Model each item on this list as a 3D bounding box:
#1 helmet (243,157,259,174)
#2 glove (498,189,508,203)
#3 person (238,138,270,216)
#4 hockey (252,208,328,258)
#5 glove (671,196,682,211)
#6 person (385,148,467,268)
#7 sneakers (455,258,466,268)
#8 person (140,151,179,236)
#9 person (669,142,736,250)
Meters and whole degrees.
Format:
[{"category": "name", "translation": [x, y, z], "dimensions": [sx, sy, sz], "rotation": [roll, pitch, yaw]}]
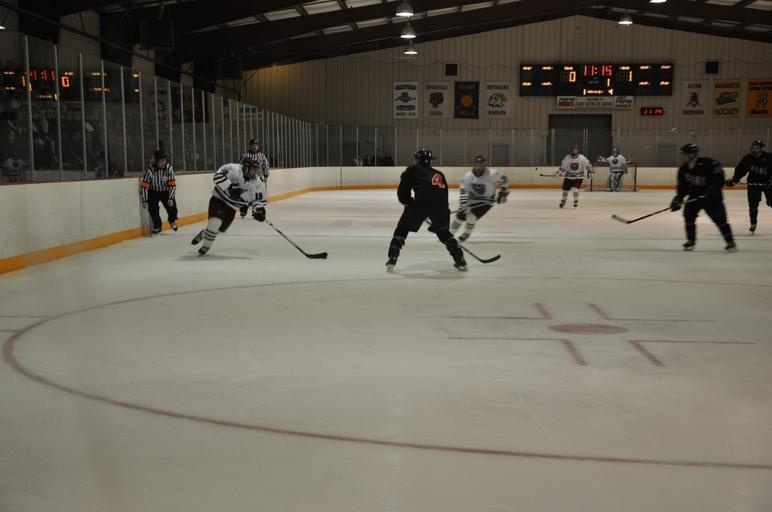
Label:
[{"category": "helmet", "translation": [-2.103, -1.383, 9.085], "dimensions": [0.231, 0.254, 0.264], "rotation": [-3, 10, -16]}, {"category": "glove", "translation": [1.987, -1.039, 10.153], "dimensions": [0.241, 0.218, 0.170], "rotation": [-1, 7, 6]}, {"category": "person", "translation": [-3.298, -1.951, 15.091], "dimensions": [0.774, 1.781, 0.643], "rotation": [2, 8, 12]}, {"category": "hockey", "translation": [-1.904, -0.447, 11.589], "dimensions": [2.069, 0.290, 0.223], "rotation": [37, 28, -2]}, {"category": "glove", "translation": [4.708, -0.850, 9.559], "dimensions": [0.150, 0.222, 0.562], "rotation": [5, 11, 25]}, {"category": "person", "translation": [0.523, -0.619, 7.904], "dimensions": [1.067, 1.595, 0.509], "rotation": [0, 11, -1]}, {"category": "sneakers", "translation": [0.991, 0.079, 7.881], "dimensions": [0.168, 0.156, 0.162], "rotation": [-1, 10, -4]}, {"category": "person", "translation": [-4.382, -1.225, 11.404], "dimensions": [0.570, 1.608, 0.617], "rotation": [1, 11, 7]}, {"category": "person", "translation": [5.274, -0.982, 9.732], "dimensions": [0.948, 1.724, 1.429], "rotation": [6, 12, 29]}]
